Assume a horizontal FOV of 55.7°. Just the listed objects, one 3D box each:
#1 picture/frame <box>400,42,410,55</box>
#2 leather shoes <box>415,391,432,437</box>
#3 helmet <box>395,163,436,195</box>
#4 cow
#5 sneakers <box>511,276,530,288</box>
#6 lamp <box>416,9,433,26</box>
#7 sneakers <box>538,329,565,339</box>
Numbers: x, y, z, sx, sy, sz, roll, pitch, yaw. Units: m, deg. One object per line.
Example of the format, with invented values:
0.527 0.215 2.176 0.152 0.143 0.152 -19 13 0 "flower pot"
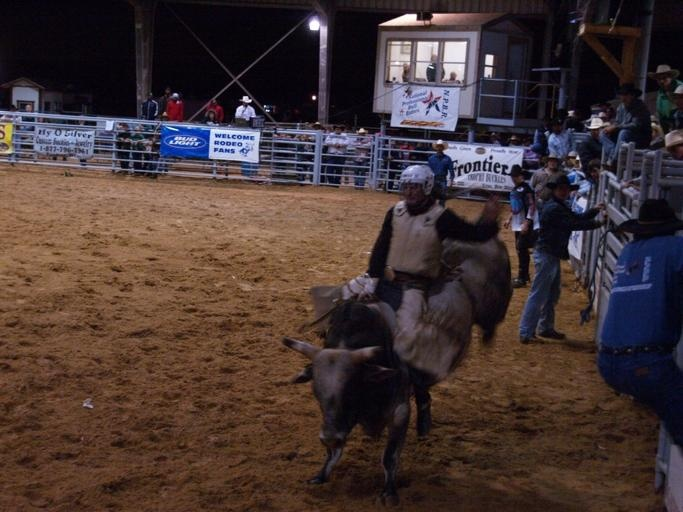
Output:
2.194 -7.160 22.258 0.409 0.314 0.089 7 -1 20 "picture/frame"
0.740 1.426 5.823 0.167 0.450 0.210 1 14 16 "leather shoes"
0.641 -0.657 5.556 0.319 0.227 0.239 7 -2 -10 "helmet"
0.510 0.843 5.376 0.769 1.873 2.152 11 10 35 "cow"
2.967 0.444 10.556 0.175 0.190 0.512 -1 -5 41 "sneakers"
2.759 -8.018 21.729 0.538 0.409 0.654 2 18 4 "lamp"
2.693 1.025 8.355 0.405 0.132 0.124 0 5 0 "sneakers"
